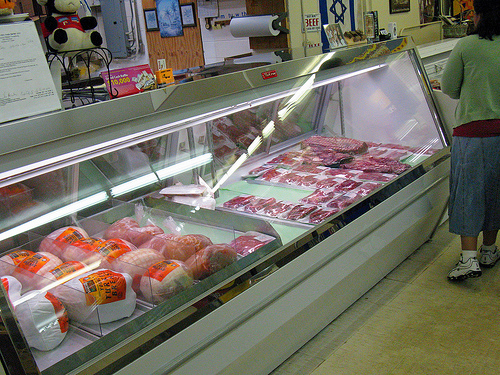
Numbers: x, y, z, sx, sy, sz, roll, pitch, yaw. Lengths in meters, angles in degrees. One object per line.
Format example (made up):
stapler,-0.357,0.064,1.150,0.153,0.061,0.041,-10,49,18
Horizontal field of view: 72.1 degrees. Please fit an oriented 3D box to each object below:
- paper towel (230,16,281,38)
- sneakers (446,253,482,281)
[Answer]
paper towel,0.039,-1.762,3.704,0.277,0.227,0.544,-20,24,-31
sneakers,1.427,0.564,2.367,0.314,0.203,0.116,-14,-23,42
